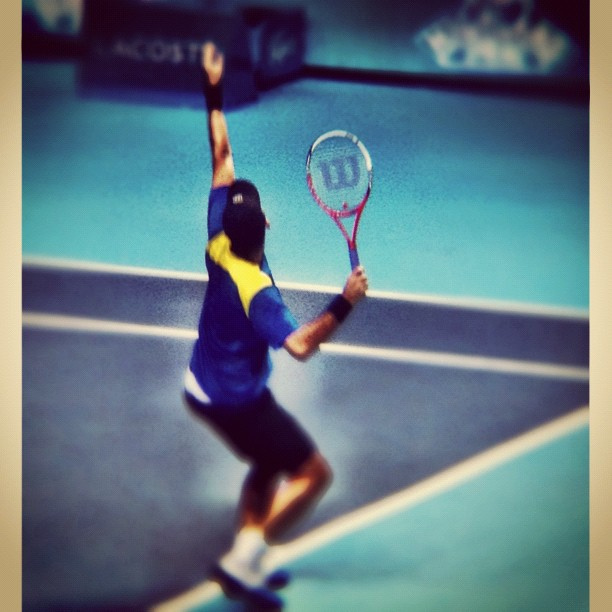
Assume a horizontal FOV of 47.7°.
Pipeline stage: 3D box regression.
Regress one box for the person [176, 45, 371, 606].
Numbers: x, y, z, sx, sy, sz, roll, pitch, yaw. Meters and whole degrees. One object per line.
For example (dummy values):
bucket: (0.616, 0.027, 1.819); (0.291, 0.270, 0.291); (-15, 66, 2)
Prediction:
person: (-0.164, 0.100, 2.229); (0.703, 1.495, 0.620); (16, 25, 11)
